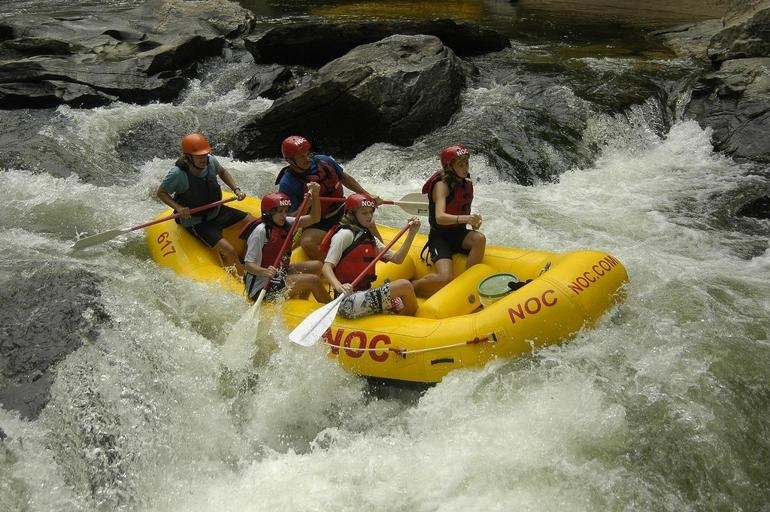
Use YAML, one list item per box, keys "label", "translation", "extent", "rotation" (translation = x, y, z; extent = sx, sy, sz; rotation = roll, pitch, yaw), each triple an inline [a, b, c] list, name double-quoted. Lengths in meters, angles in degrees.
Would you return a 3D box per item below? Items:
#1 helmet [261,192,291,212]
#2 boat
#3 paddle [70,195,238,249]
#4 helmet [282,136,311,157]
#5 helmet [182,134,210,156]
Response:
- label: "helmet"
  translation: [-1.183, -0.601, 7.120]
  extent: [0.287, 0.184, 0.214]
  rotation: [15, 17, 29]
- label: "boat"
  translation: [-0.080, 0.453, 7.087]
  extent: [4.227, 0.827, 2.026]
  rotation: [10, 27, 23]
- label: "paddle"
  translation: [-2.916, -0.409, 8.195]
  extent: [2.665, 0.125, 0.224]
  rotation: [-15, 81, 3]
- label: "helmet"
  translation: [-1.096, -1.315, 7.794]
  extent: [0.356, 0.221, 0.243]
  rotation: [2, 26, 33]
- label: "helmet"
  translation: [-2.266, -1.300, 7.629]
  extent: [0.330, 0.152, 0.256]
  rotation: [20, 40, 34]
